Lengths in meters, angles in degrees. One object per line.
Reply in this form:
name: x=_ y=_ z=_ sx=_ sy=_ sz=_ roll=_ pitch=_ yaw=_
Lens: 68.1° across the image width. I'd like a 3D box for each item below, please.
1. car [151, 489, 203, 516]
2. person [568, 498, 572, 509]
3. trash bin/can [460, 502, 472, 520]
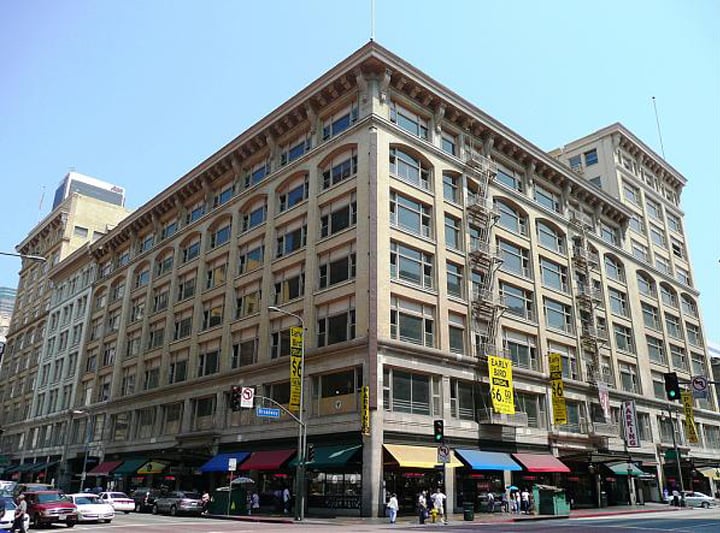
car: x=-14.737 y=18.846 z=42.678 sx=1.674 sy=1.654 sz=5.551 roll=23 pitch=-34 yaw=-38
person: x=19.441 y=21.846 z=49.557 sx=0.351 sy=0.672 sz=0.803 roll=-11 pitch=-29 yaw=21
trash bin/can: x=7.256 y=16.789 z=36.722 sx=0.620 sy=1.061 sz=0.493 roll=-1 pitch=-28 yaw=2
